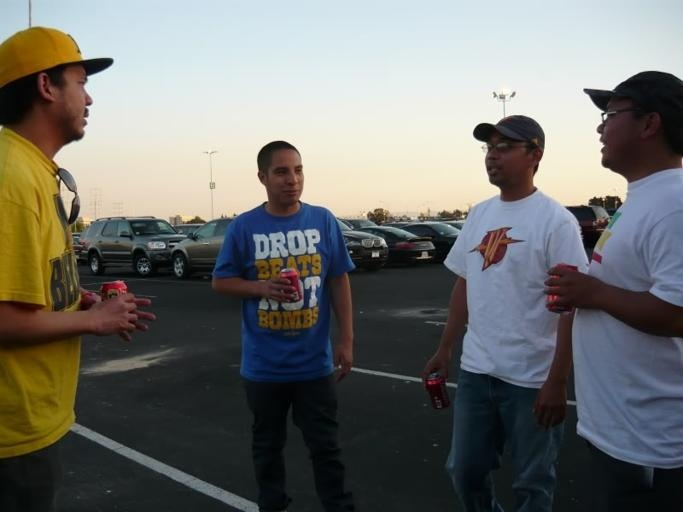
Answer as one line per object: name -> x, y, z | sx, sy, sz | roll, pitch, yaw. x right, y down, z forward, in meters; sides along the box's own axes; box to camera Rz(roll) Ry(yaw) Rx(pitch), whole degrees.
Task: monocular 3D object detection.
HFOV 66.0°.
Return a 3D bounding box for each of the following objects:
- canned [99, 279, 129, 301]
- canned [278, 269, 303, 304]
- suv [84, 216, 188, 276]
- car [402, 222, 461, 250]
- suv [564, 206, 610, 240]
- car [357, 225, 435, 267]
canned -> -1.145, 0.163, 2.643 | 0.130, 0.115, 0.129 | -3, -1, 25
canned -> -0.323, 0.185, 3.086 | 0.150, 0.167, 0.143 | -12, -8, -25
suv -> -6.961, -0.308, 17.704 | 3.949, 1.647, 2.303 | -1, 1, 34
car -> 3.560, -0.804, 20.273 | 2.362, 0.750, 1.027 | 4, 6, 39
suv -> 11.413, -1.586, 24.450 | 1.773, 0.853, 1.061 | -6, 9, 40
car -> 1.909, -0.433, 18.843 | 1.213, 0.786, 2.721 | -1, 4, -44
